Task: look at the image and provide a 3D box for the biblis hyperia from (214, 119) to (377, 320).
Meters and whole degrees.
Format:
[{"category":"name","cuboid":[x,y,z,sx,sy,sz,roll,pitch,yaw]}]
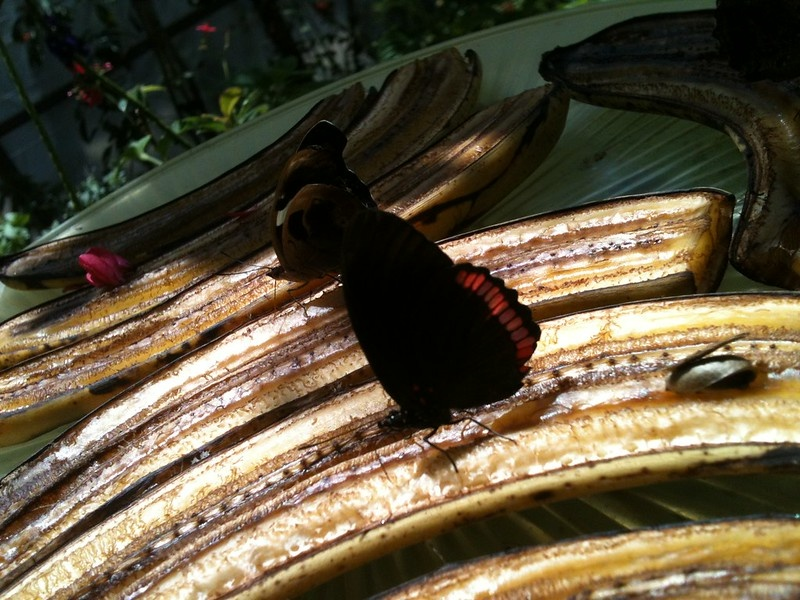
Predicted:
[{"category":"biblis hyperia","cuboid":[-0.152,-0.161,1.882,0.305,0.295,0.439,-4,19,0]}]
